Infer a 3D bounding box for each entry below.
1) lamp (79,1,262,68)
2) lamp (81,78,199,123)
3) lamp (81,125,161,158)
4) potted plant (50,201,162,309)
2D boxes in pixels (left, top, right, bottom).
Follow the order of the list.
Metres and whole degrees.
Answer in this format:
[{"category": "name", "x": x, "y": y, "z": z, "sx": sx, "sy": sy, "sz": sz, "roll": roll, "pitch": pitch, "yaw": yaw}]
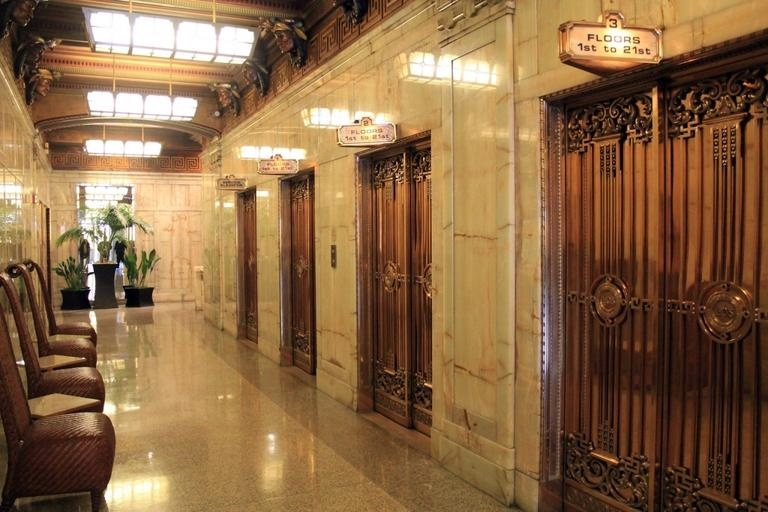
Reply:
[{"category": "lamp", "x": -2.678, "y": -2.654, "z": 7.320, "sx": 1.757, "sy": 0.441, "sz": 0.535, "roll": -6, "pitch": -34, "yaw": -21}, {"category": "lamp", "x": -4.369, "y": -2.742, "z": 10.707, "sx": 1.778, "sy": 0.392, "sz": 0.870, "roll": -2, "pitch": 6, "yaw": -25}, {"category": "lamp", "x": -6.353, "y": -2.767, "z": 14.292, "sx": 1.459, "sy": 0.768, "sz": 3.318, "roll": -3, "pitch": 6, "yaw": -28}, {"category": "potted plant", "x": -7.686, "y": 0.050, "z": 17.232, "sx": 2.437, "sy": 3.346, "sz": 2.750, "roll": 1, "pitch": -5, "yaw": -41}]
